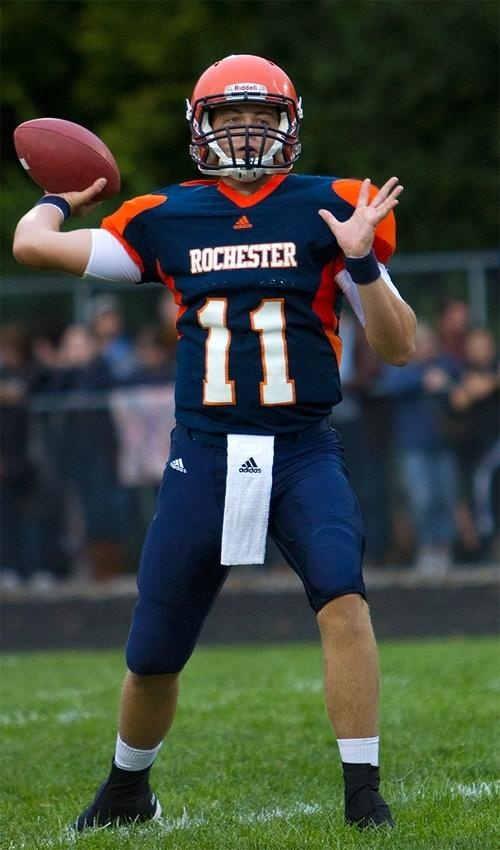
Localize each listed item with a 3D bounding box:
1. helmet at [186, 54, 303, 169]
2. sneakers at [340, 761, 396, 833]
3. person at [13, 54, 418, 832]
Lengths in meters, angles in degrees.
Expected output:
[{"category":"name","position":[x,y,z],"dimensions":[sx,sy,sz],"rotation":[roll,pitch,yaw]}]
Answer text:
[{"category":"helmet","position":[-0.006,-0.723,2.313],"dimensions":[0.271,0.242,0.310],"rotation":[-1,8,-1]},{"category":"sneakers","position":[0.227,0.716,1.918],"dimensions":[0.092,0.118,0.091],"rotation":[-4,-6,4]},{"category":"person","position":[-0.034,-0.036,2.181],"dimensions":[0.815,1.688,0.330],"rotation":[-5,-6,15]}]
